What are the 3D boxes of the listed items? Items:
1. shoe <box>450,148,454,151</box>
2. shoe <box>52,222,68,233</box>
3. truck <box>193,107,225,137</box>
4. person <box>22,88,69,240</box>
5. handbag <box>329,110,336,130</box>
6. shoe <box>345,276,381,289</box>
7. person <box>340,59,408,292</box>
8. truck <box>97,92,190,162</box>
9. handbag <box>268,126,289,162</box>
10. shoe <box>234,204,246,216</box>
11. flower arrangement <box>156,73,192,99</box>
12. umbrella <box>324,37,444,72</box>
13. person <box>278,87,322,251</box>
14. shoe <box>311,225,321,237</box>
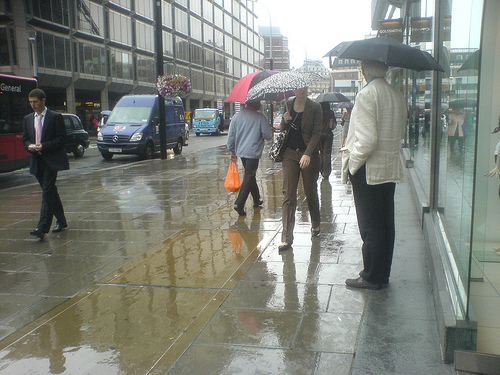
[{"bbox_3d":[1.992,-0.373,4.054,0.015,0.029,0.029,0,15,5],"label":"shoe"},{"bbox_3d":[-3.160,0.657,6.815,0.227,0.117,0.192,-8,11,-29],"label":"shoe"},{"bbox_3d":[-4.198,-6.504,41.010,2.405,2.634,2.624,1,9,16],"label":"truck"},{"bbox_3d":[-3.392,-0.454,6.842,0.654,2.316,1.450,-6,9,-27],"label":"person"},{"bbox_3d":[2.251,-1.826,11.240,0.160,0.532,0.848,0,10,11],"label":"handbag"},{"bbox_3d":[1.156,0.987,4.234,0.310,0.133,0.123,4,1,25],"label":"shoe"},{"bbox_3d":[1.326,-0.143,4.329,0.582,2.294,0.837,2,9,24],"label":"person"},{"bbox_3d":[-4.890,-2.918,19.686,2.672,2.939,4.437,2,10,24],"label":"truck"},{"bbox_3d":[0.432,-0.550,5.668,0.186,0.480,0.340,13,11,-30],"label":"handbag"},{"bbox_3d":[-0.178,0.410,7.449,0.169,0.097,0.260,-2,-20,45],"label":"shoe"},{"bbox_3d":[-3.677,-4.886,19.889,1.233,1.001,1.654,-1,16,-4],"label":"flower arrangement"},{"bbox_3d":[1.315,-1.308,4.060,1.072,0.377,0.493,3,11,26],"label":"umbrella"},{"bbox_3d":[0.681,-0.272,5.639,0.627,2.118,0.655,-1,8,4],"label":"person"},{"bbox_3d":[0.967,0.639,6.051,0.118,0.233,0.216,0,-8,3],"label":"shoe"}]
